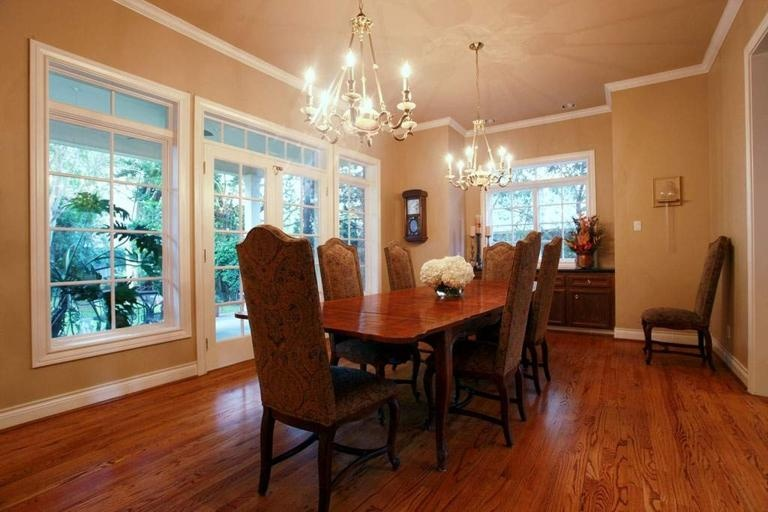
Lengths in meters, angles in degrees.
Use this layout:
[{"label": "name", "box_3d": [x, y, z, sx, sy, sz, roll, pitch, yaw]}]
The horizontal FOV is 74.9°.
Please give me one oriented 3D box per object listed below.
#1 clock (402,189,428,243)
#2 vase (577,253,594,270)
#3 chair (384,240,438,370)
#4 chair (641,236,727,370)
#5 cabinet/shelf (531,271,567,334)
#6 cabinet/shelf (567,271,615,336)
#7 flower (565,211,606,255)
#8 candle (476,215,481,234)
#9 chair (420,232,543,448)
[{"label": "clock", "box_3d": [0.469, -0.569, 7.489, 0.378, 0.812, 0.226, -3, 4, 13]}, {"label": "vase", "box_3d": [2.719, 0.080, 6.794, 0.209, 0.189, 0.203, 0, -5, -3]}, {"label": "chair", "box_3d": [0.342, 0.334, 5.495, 0.526, 0.885, 0.563, -5, 6, -39]}, {"label": "chair", "box_3d": [3.296, 0.485, 5.490, 0.838, 1.364, 0.719, -2, 4, 26]}, {"label": "cabinet/shelf", "box_3d": [2.240, 0.587, 7.026, 0.520, 0.723, 0.389, 7, -7, 13]}, {"label": "cabinet/shelf", "box_3d": [2.800, 0.694, 6.868, 0.702, 0.844, 0.667, -5, -23, 32]}, {"label": "flower", "box_3d": [2.821, -0.227, 7.010, 0.472, 0.583, 0.486, 22, -22, -37]}, {"label": "candle", "box_3d": [1.408, -0.468, 7.483, 0.090, 0.283, 0.232, -3, 4, 11]}, {"label": "chair", "box_3d": [0.829, 0.733, 4.357, 0.889, 1.453, 0.835, 1, -3, 14]}]
